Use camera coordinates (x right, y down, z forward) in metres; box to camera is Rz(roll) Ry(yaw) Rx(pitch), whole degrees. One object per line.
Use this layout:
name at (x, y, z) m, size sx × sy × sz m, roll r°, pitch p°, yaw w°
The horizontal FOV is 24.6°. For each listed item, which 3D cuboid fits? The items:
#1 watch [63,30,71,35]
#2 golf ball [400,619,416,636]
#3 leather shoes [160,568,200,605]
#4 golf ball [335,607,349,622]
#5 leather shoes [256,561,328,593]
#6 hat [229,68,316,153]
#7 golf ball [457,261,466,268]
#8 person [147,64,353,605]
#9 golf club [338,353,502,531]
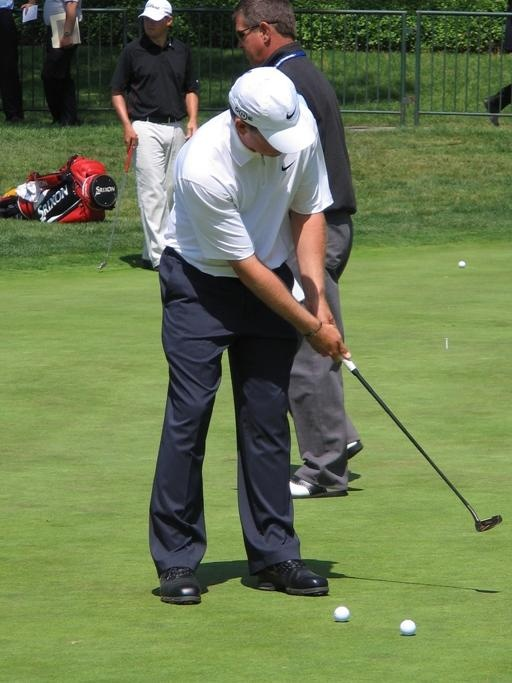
watch at (-2.370, -3.799, 14.541) m, size 0.063 × 0.042 × 0.073 m, roll 1°, pitch 6°, yaw -1°
golf ball at (0.375, 0.701, 2.895) m, size 0.035 × 0.028 × 0.034 m, roll -1°, pitch 10°, yaw 0°
leather shoes at (-0.208, 0.673, 3.222) m, size 0.116 × 0.072 × 0.137 m, roll 0°, pitch 10°, yaw -5°
golf ball at (0.222, 0.698, 3.029) m, size 0.040 × 0.033 × 0.068 m, roll 2°, pitch 10°, yaw 4°
leather shoes at (0.109, 0.658, 3.342) m, size 0.217 × 0.096 × 0.084 m, roll -4°, pitch -5°, yaw 37°
hat at (0.052, -0.605, 3.031) m, size 0.168 × 0.260 × 0.140 m, roll -29°, pitch -23°, yaw -24°
golf ball at (1.726, -0.637, 9.777) m, size 0.037 × 0.057 × 0.066 m, roll -2°, pitch -7°, yaw -22°
person at (0.003, -0.016, 3.280) m, size 0.538 × 1.478 × 0.581 m, roll -1°, pitch 8°, yaw -21°
golf club at (0.511, 0.348, 3.734) m, size 0.061 × 0.711 × 0.183 m, roll -37°, pitch -16°, yaw -24°
